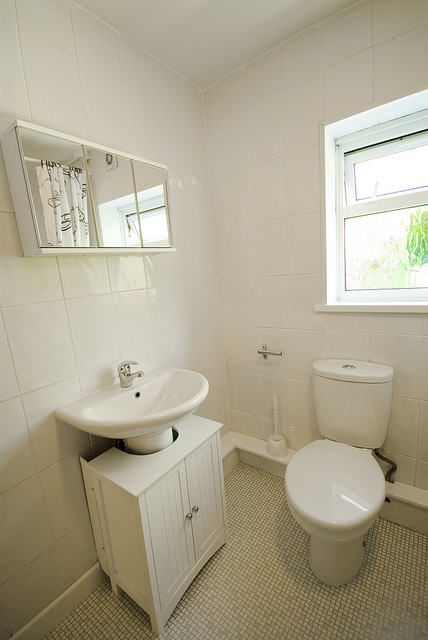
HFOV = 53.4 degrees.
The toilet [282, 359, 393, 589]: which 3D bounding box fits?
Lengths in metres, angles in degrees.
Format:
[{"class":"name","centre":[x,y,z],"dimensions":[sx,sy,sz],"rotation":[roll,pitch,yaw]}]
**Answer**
[{"class":"toilet","centre":[0.501,0.628,1.702],"dimensions":[0.306,0.741,0.585],"rotation":[5,25,28]}]

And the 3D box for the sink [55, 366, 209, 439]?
[{"class":"sink","centre":[-0.237,0.324,1.583],"dimensions":[0.452,0.136,0.548],"rotation":[1,14,38]}]
